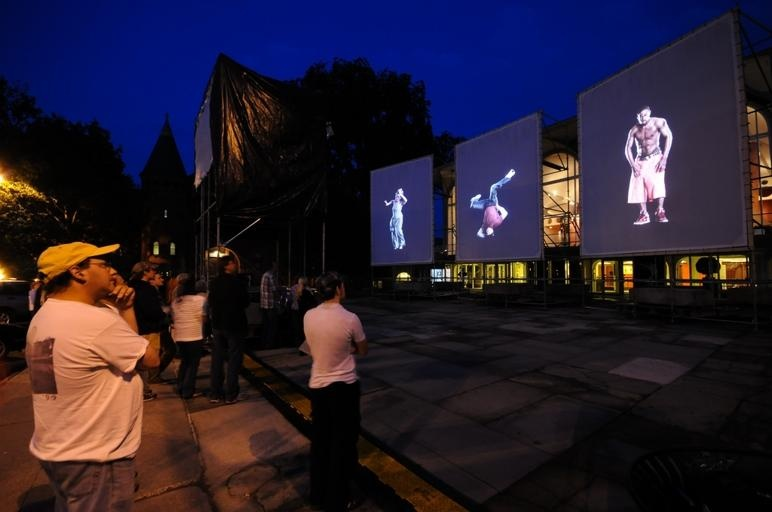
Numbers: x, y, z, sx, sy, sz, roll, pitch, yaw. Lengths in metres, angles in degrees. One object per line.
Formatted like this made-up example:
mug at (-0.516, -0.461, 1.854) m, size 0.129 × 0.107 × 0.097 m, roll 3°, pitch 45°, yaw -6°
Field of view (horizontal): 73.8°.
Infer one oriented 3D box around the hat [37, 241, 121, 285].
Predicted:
hat at (-4.684, -0.011, 7.815) m, size 1.067 × 0.421 × 0.679 m, roll -20°, pitch 23°, yaw -28°

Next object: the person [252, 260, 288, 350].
person at (-3.206, 1.390, 14.436) m, size 0.707 × 2.440 × 0.978 m, roll -2°, pitch 3°, yaw -14°

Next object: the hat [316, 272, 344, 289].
hat at (-0.984, 0.413, 9.027) m, size 0.348 × 0.305 × 0.278 m, roll -16°, pitch 19°, yaw -42°
